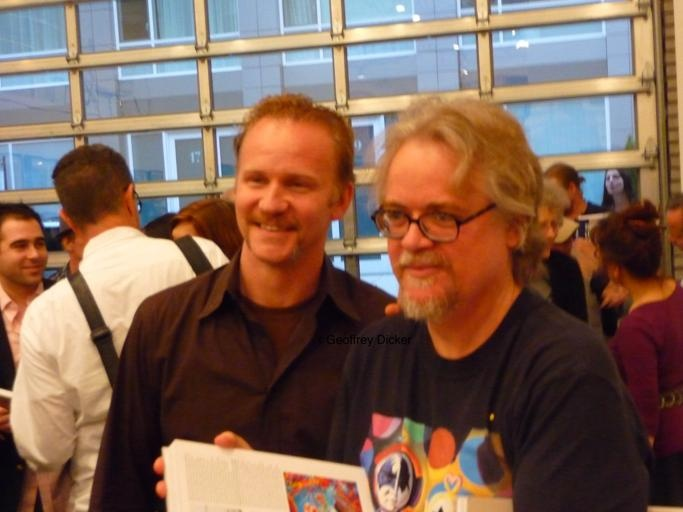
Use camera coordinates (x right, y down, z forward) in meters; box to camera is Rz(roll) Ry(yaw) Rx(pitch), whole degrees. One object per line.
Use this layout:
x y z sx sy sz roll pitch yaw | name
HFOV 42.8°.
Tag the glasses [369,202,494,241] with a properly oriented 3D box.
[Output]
0.342 -0.124 3.309 0.478 0.145 0.167 -4 5 11 | glasses
